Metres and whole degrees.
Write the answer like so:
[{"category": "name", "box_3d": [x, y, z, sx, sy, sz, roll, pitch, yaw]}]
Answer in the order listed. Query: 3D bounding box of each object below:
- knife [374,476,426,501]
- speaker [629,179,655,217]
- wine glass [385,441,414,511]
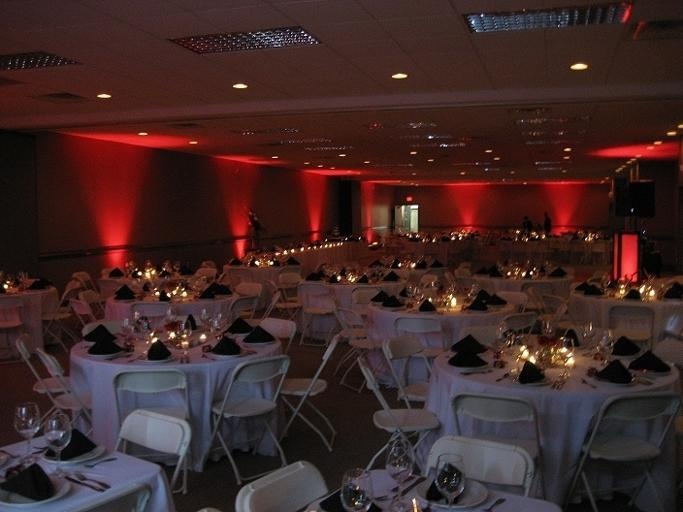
[{"category": "knife", "box_3d": [0.258, 1.041, 2.232, 0.109, 0.027, 0.243, -1, 5, 37]}, {"category": "speaker", "box_3d": [6.598, -1.271, 11.121, 0.496, 0.729, 0.507, -2, -8, 19]}, {"category": "wine glass", "box_3d": [0.253, 0.931, 2.201, 0.113, 0.280, 0.250, -1, -7, 5]}]
